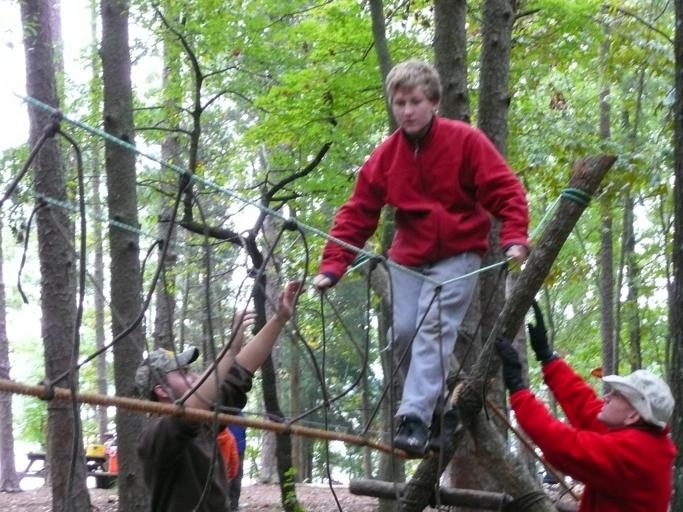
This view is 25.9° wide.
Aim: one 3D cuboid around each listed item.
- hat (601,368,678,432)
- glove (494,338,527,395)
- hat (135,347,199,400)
[{"bbox_3d":[3.511,1.657,17.454,0.747,0.676,0.215,0,-8,10],"label":"hat"},{"bbox_3d":[2.036,1.233,17.792,0.227,0.831,0.246,-2,-42,-15],"label":"glove"},{"bbox_3d":[-2.066,1.315,17.293,0.400,0.781,0.478,43,3,-10],"label":"hat"}]
